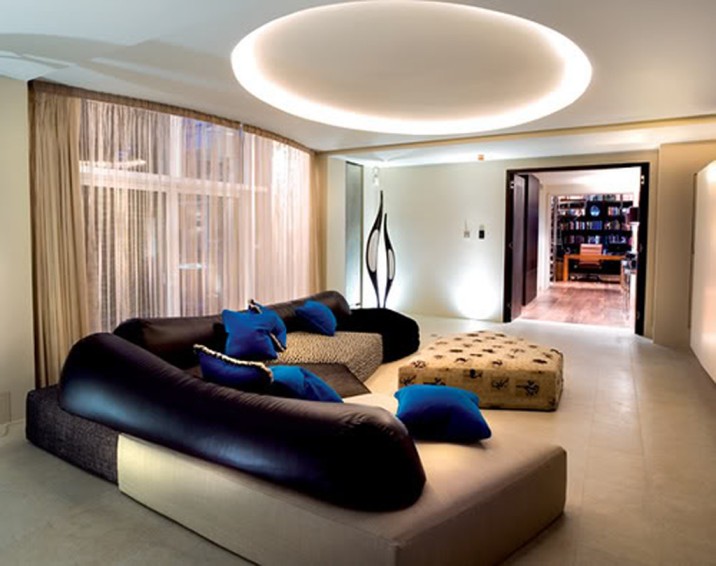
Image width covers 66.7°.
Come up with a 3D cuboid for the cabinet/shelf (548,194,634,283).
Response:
[{"bbox_3d":[6.056,-1.108,14.023,2.250,2.204,1.159,1,2,35],"label":"cabinet/shelf"}]

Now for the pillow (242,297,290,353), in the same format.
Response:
[{"bbox_3d":[-0.720,0.348,4.557,0.194,0.355,0.604,-4,-22,5],"label":"pillow"}]

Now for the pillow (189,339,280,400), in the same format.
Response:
[{"bbox_3d":[-0.681,0.490,3.048,0.506,0.198,0.235,12,6,20],"label":"pillow"}]

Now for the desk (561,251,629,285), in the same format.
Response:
[{"bbox_3d":[6.012,-0.416,14.126,1.524,0.643,0.983,1,9,6],"label":"desk"}]

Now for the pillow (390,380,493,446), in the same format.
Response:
[{"bbox_3d":[0.482,0.738,3.113,0.374,0.176,0.362,4,7,-5],"label":"pillow"}]

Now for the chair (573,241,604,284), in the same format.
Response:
[{"bbox_3d":[6.071,-0.525,14.296,0.953,1.463,0.921,1,3,27],"label":"chair"}]
